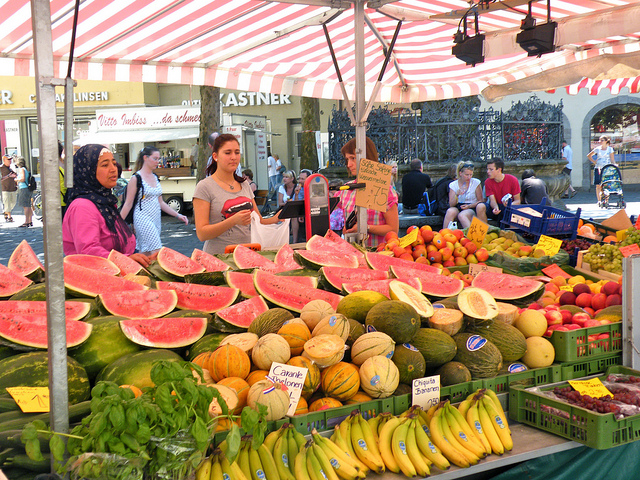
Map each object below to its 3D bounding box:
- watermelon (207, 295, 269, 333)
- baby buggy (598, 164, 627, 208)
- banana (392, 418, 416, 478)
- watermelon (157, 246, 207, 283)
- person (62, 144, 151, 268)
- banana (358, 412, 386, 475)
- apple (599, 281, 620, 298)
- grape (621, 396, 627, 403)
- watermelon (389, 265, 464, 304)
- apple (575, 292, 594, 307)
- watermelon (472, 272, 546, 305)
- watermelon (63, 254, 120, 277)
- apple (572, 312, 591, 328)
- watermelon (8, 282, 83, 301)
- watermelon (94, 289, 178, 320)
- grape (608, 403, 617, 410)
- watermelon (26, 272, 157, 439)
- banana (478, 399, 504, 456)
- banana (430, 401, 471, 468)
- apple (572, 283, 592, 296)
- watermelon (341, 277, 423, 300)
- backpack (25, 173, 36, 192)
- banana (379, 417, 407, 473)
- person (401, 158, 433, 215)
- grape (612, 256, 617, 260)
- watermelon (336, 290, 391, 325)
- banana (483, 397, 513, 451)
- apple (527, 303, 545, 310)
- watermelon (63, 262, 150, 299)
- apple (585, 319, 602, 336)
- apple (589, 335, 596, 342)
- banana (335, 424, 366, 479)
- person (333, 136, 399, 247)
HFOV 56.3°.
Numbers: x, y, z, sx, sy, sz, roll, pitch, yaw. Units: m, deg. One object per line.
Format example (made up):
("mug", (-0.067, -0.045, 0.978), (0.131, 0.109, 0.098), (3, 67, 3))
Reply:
("watermelon", (-0.412, 0.423, 3.318), (0.307, 0.119, 0.161), (-15, 2, -39))
("baby buggy", (8.526, -1.624, 17.589), (0.658, 1.273, 1.230), (1, 4, 24))
("banana", (0.356, 0.914, 2.674), (0.050, 0.272, 0.092), (10, -41, -20))
("watermelon", (-1.033, 0.127, 4.345), (0.140, 0.240, 0.413), (-11, -25, 34))
("person", (-1.710, -0.311, 4.698), (0.525, 0.903, 0.514), (-4, 5, -37))
("banana", (0.208, 0.875, 2.673), (0.057, 0.307, 0.097), (-17, -24, -6))
("apple", (1.945, 0.328, 4.036), (0.103, 0.090, 0.080), (-11, 7, -24))
("grape", (1.505, 0.795, 2.976), (0.015, 0.017, 0.021), (-9, 8, 1))
("watermelon", (0.705, 0.267, 3.873), (0.371, 0.145, 0.227), (18, -4, -4))
("apple", (1.792, 0.408, 4.067), (0.082, 0.111, 0.089), (5, 15, -1))
("watermelon", (1.173, 0.293, 3.758), (0.343, 0.150, 0.259), (8, 10, 38))
("watermelon", (-1.579, 0.161, 4.177), (0.265, 0.084, 0.243), (21, 13, -19))
("apple", (1.590, 0.477, 3.646), (0.077, 0.089, 0.082), (-8, 5, -3))
("watermelon", (-1.777, 0.328, 3.714), (0.209, 0.084, 0.258), (-2, 2, -7))
("watermelon", (-1.059, 0.391, 3.525), (0.463, 0.188, 0.255), (1, -8, -31))
("grape", (1.389, 0.794, 2.850), (0.025, 0.022, 0.036), (-3, 7, -21))
("watermelon", (-1.038, 0.522, 2.774), (0.459, 0.472, 1.022), (10, 24, -11))
("banana", (0.787, 0.884, 2.814), (0.051, 0.277, 0.087), (-18, -16, 16))
("banana", (0.584, 0.895, 2.710), (0.077, 0.244, 0.049), (-10, -29, -40))
("apple", (1.849, 0.337, 4.243), (0.091, 0.087, 0.089), (7, -32, -10))
("watermelon", (0.350, 0.274, 3.615), (0.277, 0.110, 0.211), (-6, 6, 4))
("backpack", (-8.594, -1.755, 17.765), (0.203, 0.526, 0.479), (-2, 4, -15))
("banana", (0.311, 0.904, 2.659), (0.130, 0.285, 0.064), (8, -40, 8))
("person", (1.895, -1.068, 11.814), (0.547, 1.091, 0.465), (0, 4, 9))
("grape", (2.537, 0.149, 5.180), (0.022, 0.030, 0.062), (-1, 4, -4))
("watermelon", (0.226, 0.330, 3.170), (0.224, 0.154, 0.157), (-9, 15, -6))
("banana", (0.815, 0.855, 2.871), (0.066, 0.291, 0.088), (-34, -25, 35))
("apple", (1.319, 0.410, 3.651), (0.076, 0.035, 0.227), (1, 5, 27))
("watermelon", (-1.385, 0.261, 3.825), (0.447, 0.162, 0.175), (14, 4, -14))
("apple", (1.604, 0.515, 3.522), (0.077, 0.088, 0.083), (2, 1, 2))
("apple", (1.502, 0.546, 3.308), (0.032, 0.025, 0.064), (1, 5, 25))
("banana", (0.127, 0.928, 2.580), (0.035, 0.187, 0.069), (-16, -23, -25))
("person", (0.497, -0.515, 6.187), (0.605, 1.139, 0.850), (-1, 4, 3))
